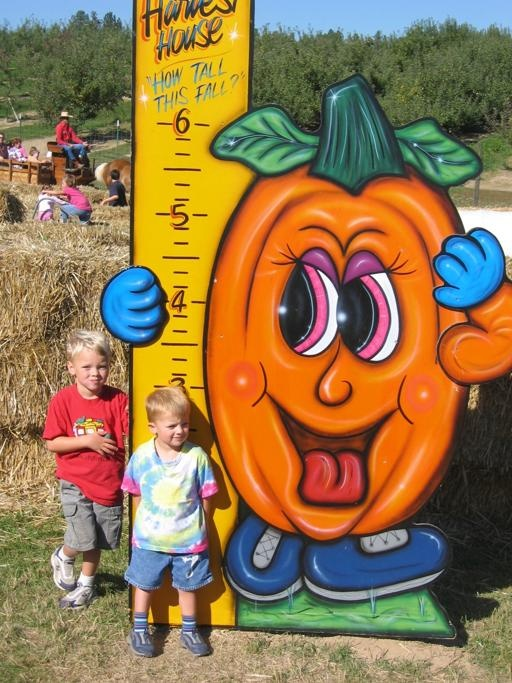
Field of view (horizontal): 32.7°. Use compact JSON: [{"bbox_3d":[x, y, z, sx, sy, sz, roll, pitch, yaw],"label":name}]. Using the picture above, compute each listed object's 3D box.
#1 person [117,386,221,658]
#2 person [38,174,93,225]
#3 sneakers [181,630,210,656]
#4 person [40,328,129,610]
[{"bbox_3d":[-0.344,0.714,3.471,0.388,1.062,0.251,3,11,-8],"label":"person"},{"bbox_3d":[-2.302,-1.722,10.400,0.635,0.555,1.333,2,11,-14],"label":"person"},{"bbox_3d":[-0.249,1.203,3.519,0.072,0.053,0.126,7,12,-41],"label":"sneakers"},{"bbox_3d":[-0.727,0.552,3.698,0.337,1.225,0.251,4,11,-4],"label":"person"}]
